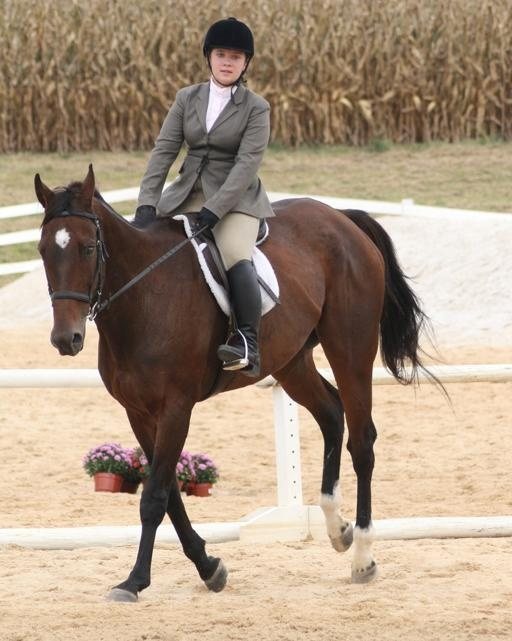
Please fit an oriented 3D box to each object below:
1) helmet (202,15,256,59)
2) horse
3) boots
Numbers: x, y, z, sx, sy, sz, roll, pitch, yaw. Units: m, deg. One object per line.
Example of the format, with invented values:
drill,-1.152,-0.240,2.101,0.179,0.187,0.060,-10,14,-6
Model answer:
helmet,-0.158,-1.642,7.545,0.292,0.259,0.414,3,2,-3
horse,-0.056,0.278,7.512,2.574,2.357,0.874,-7,14,-38
boots,-0.083,-0.008,7.197,0.225,0.612,0.482,2,11,0
